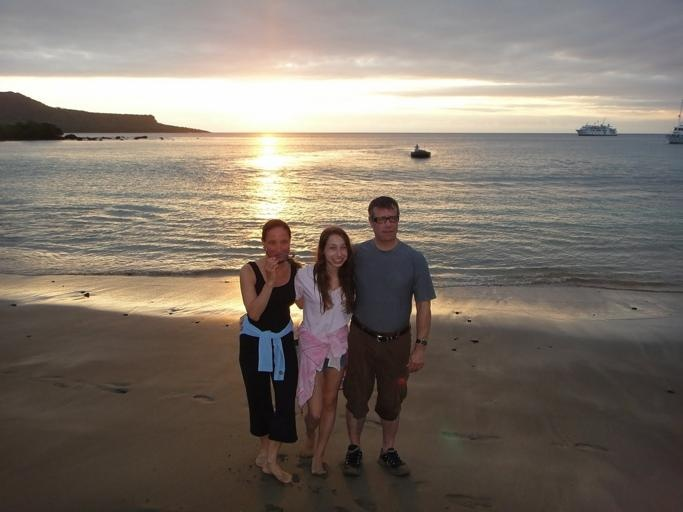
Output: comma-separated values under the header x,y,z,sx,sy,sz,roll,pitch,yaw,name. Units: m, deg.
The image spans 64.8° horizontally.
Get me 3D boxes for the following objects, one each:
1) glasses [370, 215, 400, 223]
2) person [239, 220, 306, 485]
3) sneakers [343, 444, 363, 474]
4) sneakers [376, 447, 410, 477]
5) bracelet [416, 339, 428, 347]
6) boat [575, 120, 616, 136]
x,y,z,sx,sy,sz,roll,pitch,yaw,name
0.515,-0.441,6.457,0.347,0.128,0.182,1,17,3,glasses
-0.856,1.156,6.419,0.690,3.118,0.873,-2,18,-5,person
0.144,2.553,6.664,0.160,0.169,0.416,1,-1,4,sneakers
0.665,2.577,6.768,0.218,0.193,0.438,-7,11,-37,sneakers
0.974,1.054,6.537,0.113,0.101,0.076,0,18,2,bracelet
92.385,-45.063,195.044,7.553,4.688,22.470,14,22,38,boat
